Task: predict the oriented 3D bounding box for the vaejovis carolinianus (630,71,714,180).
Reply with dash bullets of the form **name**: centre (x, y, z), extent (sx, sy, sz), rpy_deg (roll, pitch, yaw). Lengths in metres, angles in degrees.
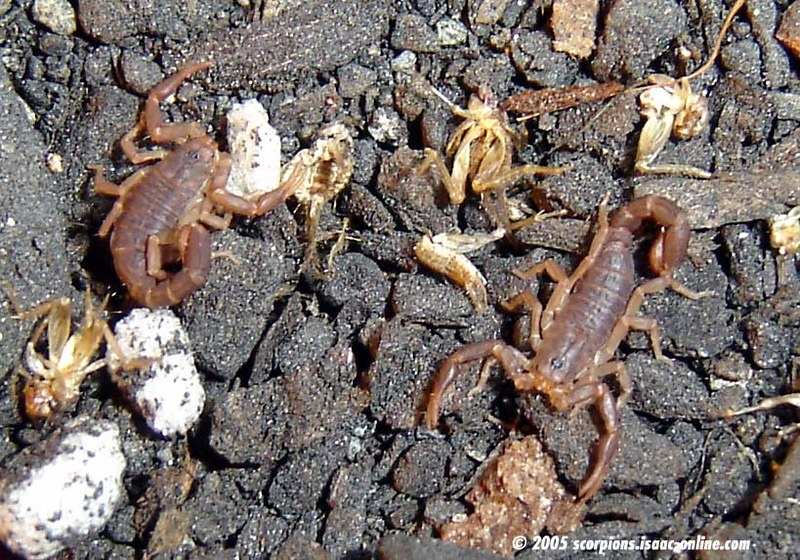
- **vaejovis carolinianus**: centre (2.132, -1.233, 7.184), extent (0.563, 0.222, 0.805), rpy_deg (1, 96, 3)
